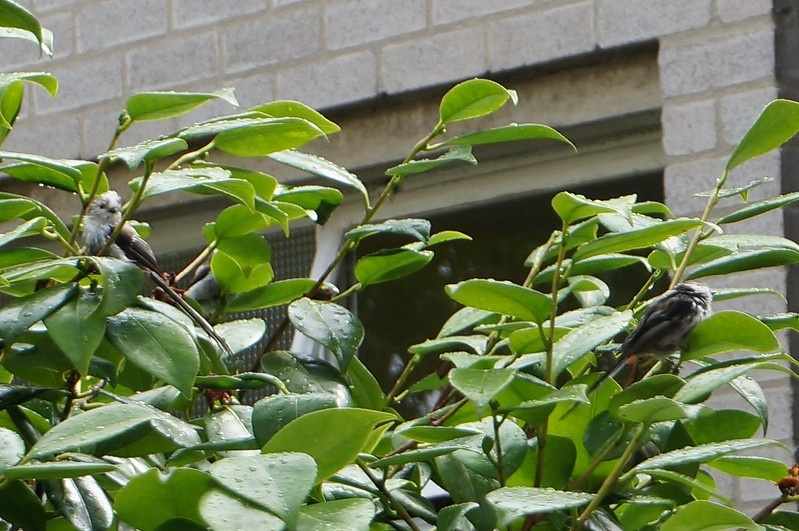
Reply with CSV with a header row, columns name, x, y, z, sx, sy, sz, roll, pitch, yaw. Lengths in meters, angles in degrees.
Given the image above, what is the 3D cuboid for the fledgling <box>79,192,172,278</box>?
name,x,y,z,sx,sy,sz,roll,pitch,yaw
fledgling,-0.860,-0.096,6.104,0.201,0.208,0.434,16,0,31

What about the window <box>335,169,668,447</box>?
name,x,y,z,sx,sy,sz,roll,pitch,yaw
window,0.324,0.135,5.538,0.980,0.564,0.013,-16,-15,-9
